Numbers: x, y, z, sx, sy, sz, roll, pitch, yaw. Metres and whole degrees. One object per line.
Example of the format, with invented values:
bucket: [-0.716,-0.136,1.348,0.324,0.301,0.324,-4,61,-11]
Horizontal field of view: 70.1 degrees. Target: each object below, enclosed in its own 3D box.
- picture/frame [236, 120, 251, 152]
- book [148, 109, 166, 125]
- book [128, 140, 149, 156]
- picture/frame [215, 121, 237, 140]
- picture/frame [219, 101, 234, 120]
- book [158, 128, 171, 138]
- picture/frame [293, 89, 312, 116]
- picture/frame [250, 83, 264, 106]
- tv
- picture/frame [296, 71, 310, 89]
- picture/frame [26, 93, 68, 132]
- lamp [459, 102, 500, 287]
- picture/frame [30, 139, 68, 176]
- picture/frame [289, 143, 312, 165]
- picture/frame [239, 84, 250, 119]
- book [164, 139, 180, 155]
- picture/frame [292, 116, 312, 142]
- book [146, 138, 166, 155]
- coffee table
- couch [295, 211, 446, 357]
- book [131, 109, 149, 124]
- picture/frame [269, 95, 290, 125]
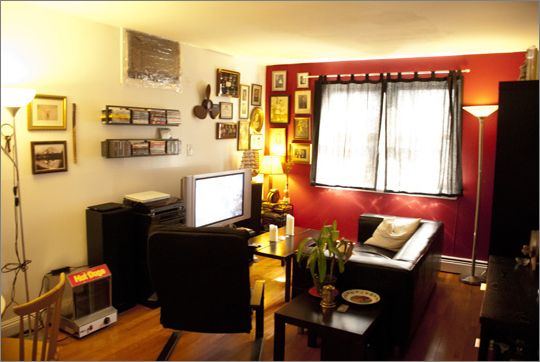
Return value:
picture/frame: [-0.429,-0.732,6.271,0.066,0.623,0.474,9,12,27]
book: [-1.405,-0.795,4.852,0.045,0.183,0.196,8,6,38]
book: [-1.582,-0.402,4.708,0.053,0.185,0.261,5,12,34]
picture/frame: [-0.655,-0.772,5.955,0.043,0.267,0.437,6,13,38]
picture/frame: [-0.665,-1.077,5.899,0.044,0.253,0.317,6,7,31]
book: [-1.349,-0.618,5.022,0.034,0.128,0.149,3,6,33]
picture/frame: [0.562,-1.303,6.411,0.453,0.560,0.042,3,9,19]
picture/frame: [-0.219,-1.445,6.469,0.059,0.430,0.399,5,9,31]
tv: [-0.759,0.232,5.289,0.084,0.489,0.877,6,10,36]
picture/frame: [0.563,-1.650,6.353,0.293,0.338,0.026,5,11,28]
picture/frame: [-2.318,-0.710,4.006,0.046,0.405,0.426,13,13,41]
lamp: [2.820,0.177,5.294,0.385,2.393,0.693,3,12,26]
picture/frame: [-2.331,-0.252,4.064,0.030,0.390,0.377,7,10,40]
picture/frame: [0.534,-0.448,6.483,0.376,0.310,0.026,6,12,24]
picture/frame: [-0.407,-1.274,6.251,0.084,0.537,0.284,2,11,23]
book: [-1.262,-0.440,5.063,0.048,0.179,0.197,9,8,34]
picture/frame: [0.559,-0.863,6.451,0.434,0.468,0.038,6,14,27]
book: [-1.421,-0.421,4.889,0.172,0.217,0.240,11,12,35]
coffee table: [0.166,0.718,4.806,0.714,0.639,1.312,5,12,23]
couch: [1.106,0.738,4.104,1.108,0.938,2.025,8,16,28]
book: [-1.572,-0.775,4.666,0.066,0.161,0.188,7,9,34]
picture/frame: [0.191,-1.217,6.584,0.517,0.675,0.095,2,5,24]
